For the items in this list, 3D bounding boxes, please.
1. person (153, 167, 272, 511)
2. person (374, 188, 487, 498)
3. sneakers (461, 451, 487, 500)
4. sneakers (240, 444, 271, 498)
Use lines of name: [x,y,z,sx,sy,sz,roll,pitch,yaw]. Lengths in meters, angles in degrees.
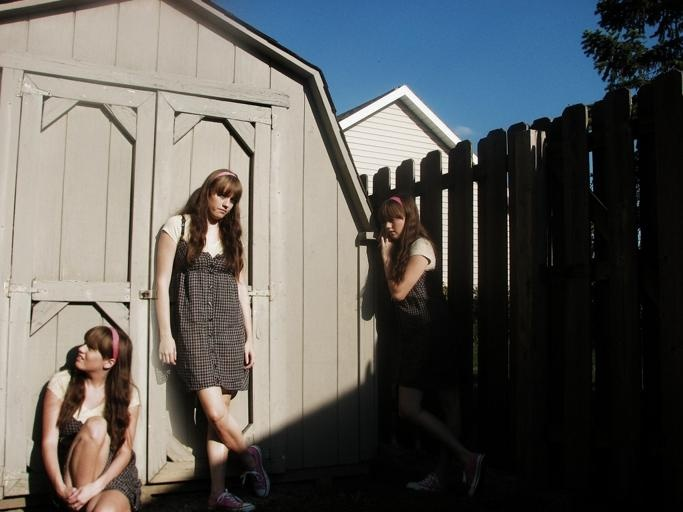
person: [-0.960,0.598,4.907,0.802,2.458,0.480,-1,3,-7]
person: [0.653,0.669,5.264,0.532,2.290,1.039,-2,3,-28]
sneakers: [0.983,1.607,4.922,0.115,0.363,0.119,2,-3,3]
sneakers: [-0.652,1.641,5.078,0.164,0.448,0.173,-2,13,16]
